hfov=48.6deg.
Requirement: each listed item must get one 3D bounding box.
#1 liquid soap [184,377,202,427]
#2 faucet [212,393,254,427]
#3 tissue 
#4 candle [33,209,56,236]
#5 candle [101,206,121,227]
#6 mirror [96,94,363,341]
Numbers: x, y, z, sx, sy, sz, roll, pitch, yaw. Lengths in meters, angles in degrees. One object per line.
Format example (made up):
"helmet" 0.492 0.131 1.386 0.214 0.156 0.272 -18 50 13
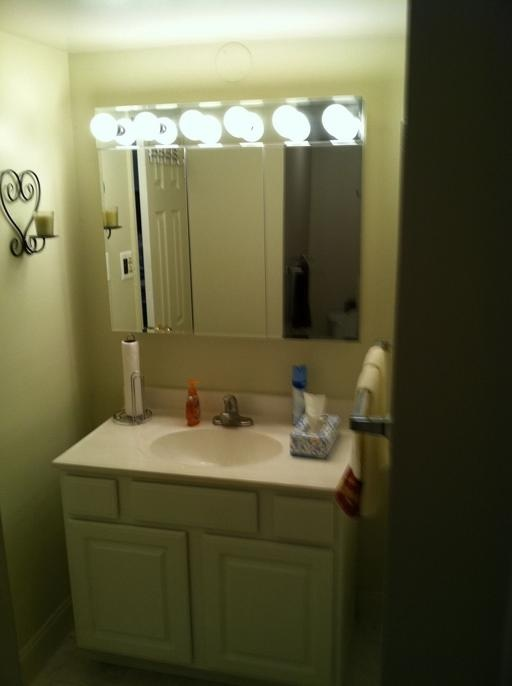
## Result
"liquid soap" -0.200 0.187 1.774 0.045 0.137 0.061 -4 12 -8
"faucet" -0.076 0.215 1.818 0.144 0.119 0.066 2 6 3
"tissue " 0.165 0.234 1.591 0.095 0.084 0.182 1 15 10
"candle" -0.598 -0.343 1.603 0.060 0.074 0.059 -6 12 -37
"candle" -0.451 -0.395 1.766 0.048 0.063 0.051 9 13 28
"mirror" -0.054 -0.398 1.692 0.653 0.644 0.054 1 18 6
